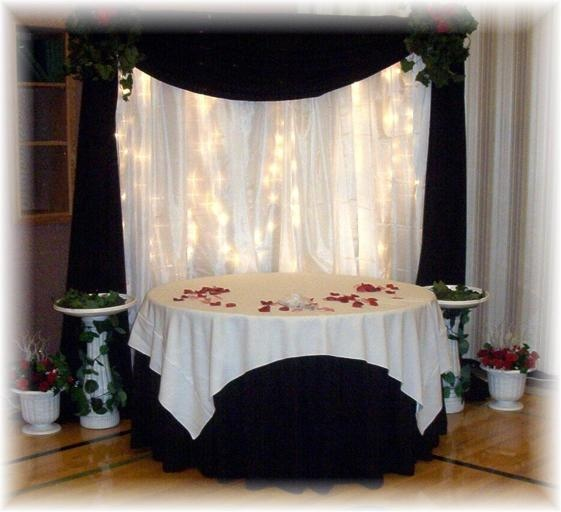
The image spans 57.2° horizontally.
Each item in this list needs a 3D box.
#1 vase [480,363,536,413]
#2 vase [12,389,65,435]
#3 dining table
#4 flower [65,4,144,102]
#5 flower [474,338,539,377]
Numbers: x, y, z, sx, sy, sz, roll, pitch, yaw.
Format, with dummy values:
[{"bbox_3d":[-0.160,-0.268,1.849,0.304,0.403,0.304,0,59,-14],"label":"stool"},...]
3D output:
[{"bbox_3d":[1.645,0.942,3.771,0.365,0.310,0.379,-1,0,29],"label":"vase"},{"bbox_3d":[-1.567,0.993,3.367,0.280,0.255,0.294,-1,4,-16],"label":"vase"},{"bbox_3d":[0.042,0.677,2.910,1.777,0.954,0.994,1,5,14],"label":"dining table"},{"bbox_3d":[-1.121,-1.299,3.300,0.440,0.526,0.248,-2,21,-21],"label":"flower"},{"bbox_3d":[1.599,0.664,3.708,0.305,0.149,0.319,-1,-3,-21],"label":"flower"}]
